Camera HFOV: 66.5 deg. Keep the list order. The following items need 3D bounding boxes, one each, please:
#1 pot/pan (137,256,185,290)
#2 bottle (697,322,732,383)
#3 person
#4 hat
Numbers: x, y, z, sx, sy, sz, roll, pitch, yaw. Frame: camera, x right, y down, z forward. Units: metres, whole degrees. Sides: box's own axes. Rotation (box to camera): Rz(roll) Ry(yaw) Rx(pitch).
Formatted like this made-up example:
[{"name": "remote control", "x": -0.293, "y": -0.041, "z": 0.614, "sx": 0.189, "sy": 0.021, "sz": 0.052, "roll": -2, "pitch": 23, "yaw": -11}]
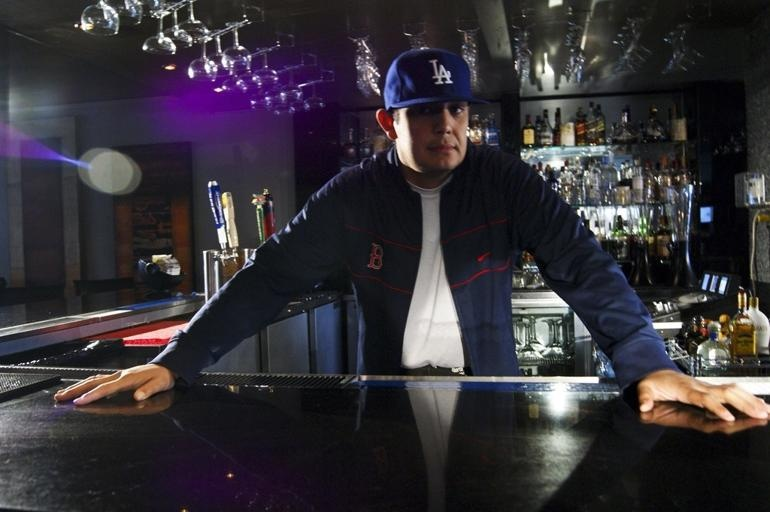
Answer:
[{"name": "pot/pan", "x": -1.285, "y": 0.087, "z": 3.353, "sx": 0.230, "sy": 0.188, "sz": 0.203, "roll": 0, "pitch": 3, "yaw": 2}, {"name": "bottle", "x": 1.365, "y": 0.391, "z": 2.463, "sx": 0.147, "sy": 0.239, "sz": 0.140, "roll": -7, "pitch": 17, "yaw": 2}, {"name": "person", "x": 0.145, "y": -0.088, "z": 1.818, "sx": 1.520, "sy": 1.105, "sz": 0.891, "roll": 1, "pitch": 13, "yaw": 8}, {"name": "hat", "x": 0.149, "y": -0.598, "z": 2.004, "sx": 0.328, "sy": 0.214, "sz": 0.396, "roll": -11, "pitch": 16, "yaw": -25}]
